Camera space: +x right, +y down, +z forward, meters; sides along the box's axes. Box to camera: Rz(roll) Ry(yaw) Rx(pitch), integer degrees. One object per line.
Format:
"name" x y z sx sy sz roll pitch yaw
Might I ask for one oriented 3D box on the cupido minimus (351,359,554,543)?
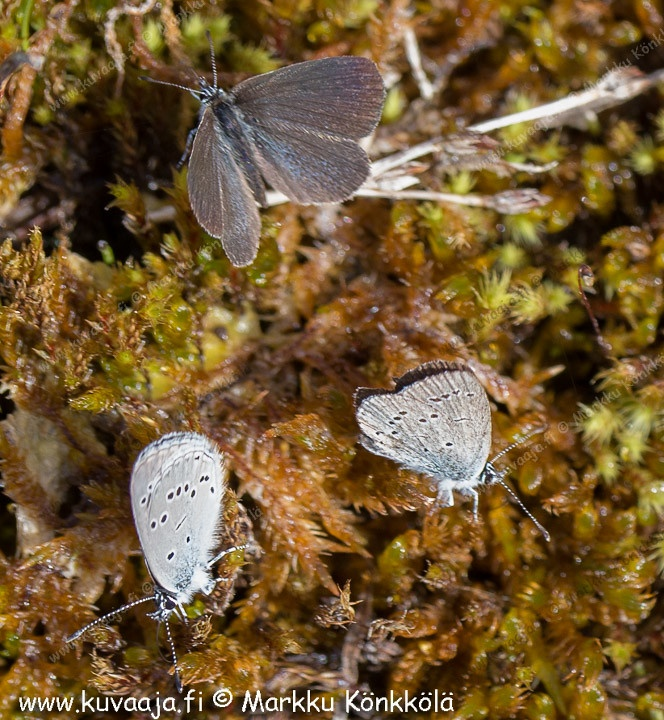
"cupido minimus" 0.219 0.185 1.661 0.153 0.319 0.287 -35 82 30
